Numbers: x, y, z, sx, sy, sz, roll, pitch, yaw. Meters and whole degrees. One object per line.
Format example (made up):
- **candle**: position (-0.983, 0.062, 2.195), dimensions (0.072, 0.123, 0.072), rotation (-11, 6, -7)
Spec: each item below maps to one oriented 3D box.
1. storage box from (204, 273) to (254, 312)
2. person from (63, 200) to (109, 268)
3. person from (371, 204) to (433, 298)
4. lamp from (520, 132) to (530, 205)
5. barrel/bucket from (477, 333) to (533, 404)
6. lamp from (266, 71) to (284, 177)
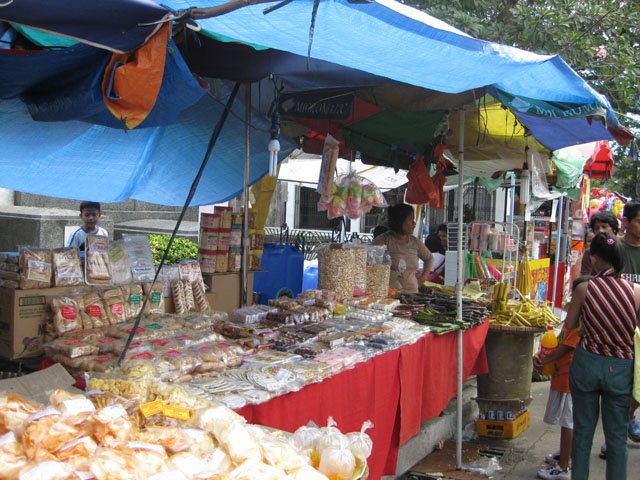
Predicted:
- **storage box**: position (-0.770, 0.429, 4.716), dimensions (0.382, 0.311, 0.274), rotation (1, 5, 26)
- **person**: position (-2.373, -0.079, 5.622), dimensions (0.463, 0.890, 0.474), rotation (11, 12, 32)
- **person**: position (0.939, 0.083, 6.343), dimensions (0.453, 1.010, 0.985), rotation (2, 5, 31)
- **lamp**: position (2.394, -0.802, 6.470), dimensions (0.106, 0.781, 0.444), rotation (2, 4, 20)
- **barrel/bucket**: position (1.915, 1.189, 5.627), dimensions (0.537, 0.682, 0.571), rotation (0, 6, 0)
- **lamp**: position (-0.341, -0.857, 4.212), dimensions (0.112, 0.595, 0.084), rotation (9, 15, 16)
